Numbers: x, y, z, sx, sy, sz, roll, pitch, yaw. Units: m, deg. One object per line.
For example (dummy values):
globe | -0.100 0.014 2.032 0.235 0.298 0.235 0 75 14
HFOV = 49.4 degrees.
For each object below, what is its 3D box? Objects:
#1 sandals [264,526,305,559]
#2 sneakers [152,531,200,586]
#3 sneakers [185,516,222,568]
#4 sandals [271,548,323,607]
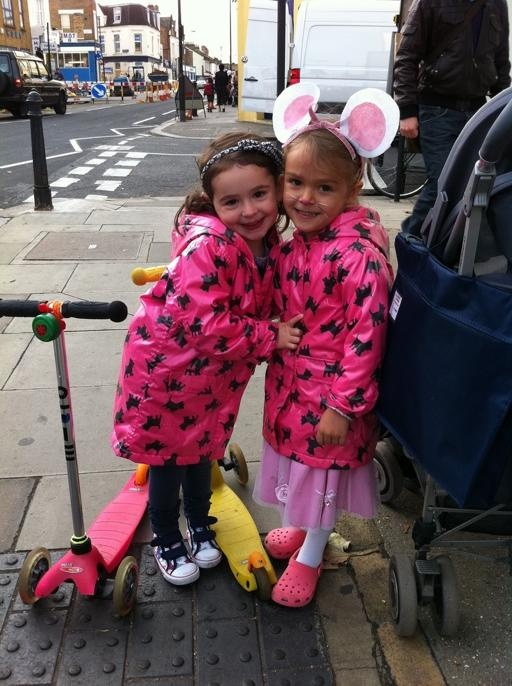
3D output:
sandals | 0.092 0.677 1.873 0.087 0.054 0.144 13 7 16
sneakers | -0.264 0.699 1.777 0.078 0.091 0.208 -3 -4 -21
sneakers | -0.193 0.670 1.871 0.071 0.101 0.188 -2 2 -16
sandals | 0.136 0.719 1.724 0.122 0.077 0.242 11 19 18
